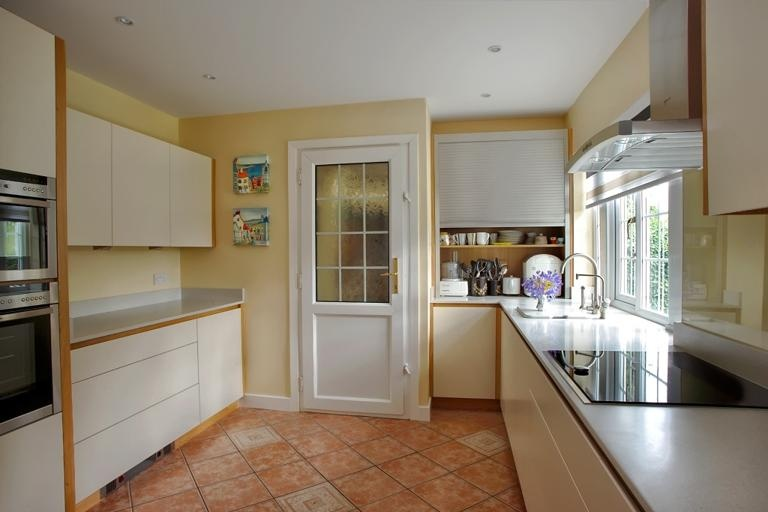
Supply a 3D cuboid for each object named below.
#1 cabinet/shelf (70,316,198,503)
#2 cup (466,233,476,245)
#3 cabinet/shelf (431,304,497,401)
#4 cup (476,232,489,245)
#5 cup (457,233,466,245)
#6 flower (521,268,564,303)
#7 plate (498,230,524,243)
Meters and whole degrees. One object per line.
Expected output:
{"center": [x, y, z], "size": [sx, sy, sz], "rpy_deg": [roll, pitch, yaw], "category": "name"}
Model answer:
{"center": [-1.853, 0.971, 3.798], "size": [0.760, 1.134, 1.493], "rpy_deg": [-2, -2, 9], "category": "cabinet/shelf"}
{"center": [0.841, -0.160, 4.873], "size": [0.094, 0.110, 0.052], "rpy_deg": [1, 14, 8], "category": "cup"}
{"center": [0.801, 0.864, 5.187], "size": [0.706, 1.369, 0.895], "rpy_deg": [0, 0, 8], "category": "cabinet/shelf"}
{"center": [0.940, -0.163, 4.906], "size": [0.131, 0.119, 0.083], "rpy_deg": [0, -2, -7], "category": "cup"}
{"center": [0.751, -0.164, 4.893], "size": [0.116, 0.133, 0.085], "rpy_deg": [-1, 4, -19], "category": "cup"}
{"center": [1.308, 0.251, 4.014], "size": [0.272, 0.281, 0.112], "rpy_deg": [-1, -7, 42], "category": "flower"}
{"center": [1.209, -0.173, 4.842], "size": [0.242, 0.125, 0.153], "rpy_deg": [2, 14, 12], "category": "plate"}
